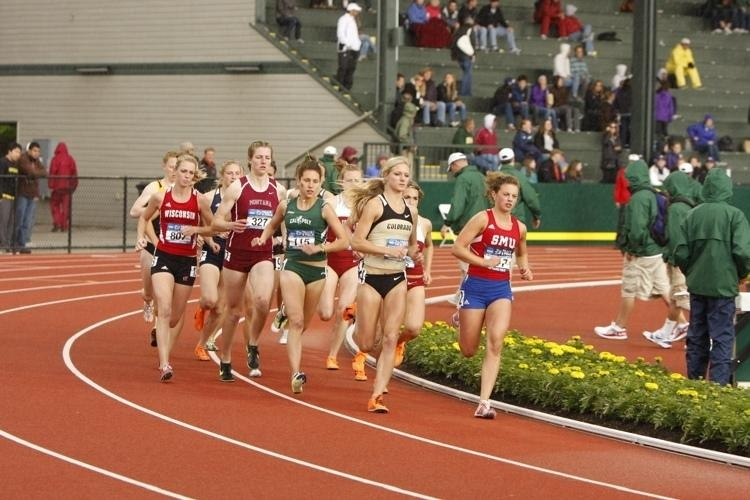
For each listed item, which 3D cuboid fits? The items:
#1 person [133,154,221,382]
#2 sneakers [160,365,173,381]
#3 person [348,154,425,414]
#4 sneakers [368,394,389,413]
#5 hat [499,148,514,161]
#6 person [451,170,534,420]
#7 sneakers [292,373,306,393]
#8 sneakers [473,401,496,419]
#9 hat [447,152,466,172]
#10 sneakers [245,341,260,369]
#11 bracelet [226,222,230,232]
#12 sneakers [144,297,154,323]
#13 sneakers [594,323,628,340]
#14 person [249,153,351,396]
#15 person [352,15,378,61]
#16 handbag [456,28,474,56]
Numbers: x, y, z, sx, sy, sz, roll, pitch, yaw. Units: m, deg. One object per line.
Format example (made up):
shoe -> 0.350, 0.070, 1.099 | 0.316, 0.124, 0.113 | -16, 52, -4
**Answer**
person -> -2.886, 0.200, 13.948 | 0.888, 3.150, 1.361 | -1, 8, -22
sneakers -> -2.930, 1.725, 13.576 | 0.131, 0.165, 0.297 | 2, -13, -20
person -> 0.094, 0.407, 13.064 | 0.906, 3.328, 1.476 | 2, 7, -1
sneakers -> 0.025, 2.000, 12.647 | 0.149, 0.174, 0.381 | 3, -9, -18
hat -> 2.494, -1.802, 18.349 | 0.351, 0.198, 0.498 | -7, 9, 8
person -> 1.539, 0.564, 12.976 | 0.788, 3.163, 0.985 | 6, 9, 31
sneakers -> -1.037, 1.779, 13.041 | 0.167, 0.342, 0.258 | 1, 8, -5
sneakers -> 1.434, 2.078, 12.727 | 0.144, 0.168, 0.359 | 2, -6, -25
hat -> 1.587, -1.661, 18.473 | 0.317, 0.394, 0.808 | 2, 8, 3
sneakers -> -1.766, 1.528, 14.057 | 0.164, 0.414, 0.181 | -4, -16, -17
bracelet -> -2.027, -0.320, 13.362 | 0.092, 0.095, 0.092 | 4, -4, -7
sneakers -> -3.774, 0.970, 16.086 | 0.177, 0.539, 0.211 | -1, 12, -6
sneakers -> 4.084, 1.385, 16.718 | 0.620, 0.288, 0.257 | 5, 2, 2
person -> -0.969, 0.346, 13.423 | 0.999, 3.169, 1.096 | -4, 9, -37
person -> -0.395, -6.973, 31.840 | 0.852, 1.448, 0.567 | -13, 3, 21
handbag -> 3.196, -7.122, 33.325 | 0.496, 0.936, 0.869 | 6, 9, 28
